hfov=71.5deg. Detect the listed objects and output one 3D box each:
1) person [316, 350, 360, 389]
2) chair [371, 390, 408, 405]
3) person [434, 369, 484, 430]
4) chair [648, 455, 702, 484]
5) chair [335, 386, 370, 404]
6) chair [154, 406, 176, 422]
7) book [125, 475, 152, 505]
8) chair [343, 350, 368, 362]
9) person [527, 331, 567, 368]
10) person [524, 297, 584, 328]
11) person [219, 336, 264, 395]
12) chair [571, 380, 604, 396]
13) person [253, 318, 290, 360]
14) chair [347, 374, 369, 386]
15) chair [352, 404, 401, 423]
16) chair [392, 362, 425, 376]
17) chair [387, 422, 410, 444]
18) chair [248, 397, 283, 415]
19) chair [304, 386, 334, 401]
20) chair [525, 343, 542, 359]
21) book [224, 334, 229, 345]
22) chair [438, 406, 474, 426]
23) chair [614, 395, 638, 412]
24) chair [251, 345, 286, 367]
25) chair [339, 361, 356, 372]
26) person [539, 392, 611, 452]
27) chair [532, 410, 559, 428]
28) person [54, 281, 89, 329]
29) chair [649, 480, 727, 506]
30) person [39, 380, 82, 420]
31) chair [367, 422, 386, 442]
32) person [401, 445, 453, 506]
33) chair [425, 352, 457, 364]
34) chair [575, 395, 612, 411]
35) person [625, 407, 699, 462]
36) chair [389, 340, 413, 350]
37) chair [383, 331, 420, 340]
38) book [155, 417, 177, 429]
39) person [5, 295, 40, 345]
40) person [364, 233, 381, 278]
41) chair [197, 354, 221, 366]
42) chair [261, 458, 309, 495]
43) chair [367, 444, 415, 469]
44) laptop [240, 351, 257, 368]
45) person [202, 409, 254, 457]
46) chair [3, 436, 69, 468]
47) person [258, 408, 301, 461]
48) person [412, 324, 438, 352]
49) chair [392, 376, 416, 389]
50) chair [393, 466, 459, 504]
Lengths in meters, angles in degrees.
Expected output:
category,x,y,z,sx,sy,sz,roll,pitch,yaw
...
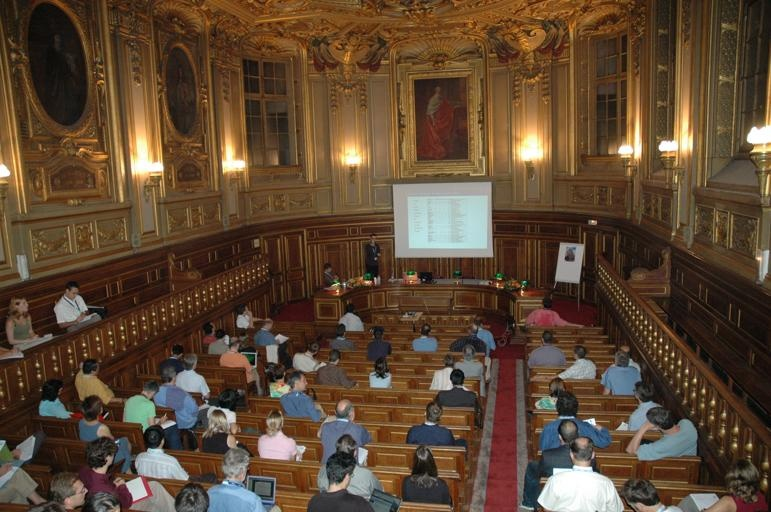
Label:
category,x,y,z,sx,sy,sz,roll,pitch,yaw
person,-0.879,2.171,10.122,0.407,0.943,0.334,13,53,8
chair,0.076,2.468,9.434,0.460,0.260,0.325,3,-11,4
person,1.175,2.336,9.020,0.764,1.123,0.709,-7,23,-15
chair,3.671,2.735,6.841,0.526,0.365,0.195,0,26,9
chair,-0.552,2.376,9.109,0.407,0.284,0.149,2,18,10
chair,-3.442,2.475,8.387,0.256,0.253,0.186,2,3,9
book,-2.965,2.821,6.448,0.299,0.280,0.150,0,1,27
chair,-0.642,2.206,11.285,0.503,0.352,0.187,3,24,10
person,3.132,1.930,10.503,0.677,0.961,0.545,-1,13,-2
person,3.906,1.347,12.880,0.980,0.629,1.080,0,1,16
person,-2.897,2.251,10.749,0.663,1.383,0.757,6,13,23
chair,3.441,2.245,9.111,0.386,0.268,0.144,0,24,7
person,-2.606,1.938,12.321,0.657,1.052,0.592,6,15,24
chair,-0.503,2.368,10.206,0.475,0.183,0.318,3,0,-4
chair,-0.117,2.545,8.657,0.479,0.336,0.162,2,26,11
chair,0.464,2.223,10.692,0.617,0.200,0.307,3,1,2
chair,0.189,2.708,8.304,0.416,0.422,0.255,-1,-6,7
chair,-1.909,2.439,8.694,0.386,0.276,0.144,3,19,5
chair,-1.152,2.392,9.301,0.402,0.274,0.164,1,3,3
chair,2.983,1.979,10.923,0.311,0.477,0.539,-1,-2,13
book,-3.598,1.933,12.215,0.178,0.065,0.270,9,17,-14
chair,1.139,2.531,8.410,0.613,0.372,0.404,-1,-8,19
chair,3.822,2.359,8.548,0.312,0.312,0.219,-1,6,5
chair,-2.473,2.101,11.222,0.412,0.603,0.426,3,19,6
chair,-0.737,2.237,10.791,0.322,0.232,0.183,0,2,3
person,2.620,2.326,7.432,0.638,1.363,0.446,3,29,18
chair,2.383,2.476,8.116,0.350,0.275,0.394,0,-9,6
person,-6.066,0.974,10.502,0.549,0.916,0.692,7,12,15
chair,3.446,2.731,6.137,0.551,0.254,0.209,-1,16,4
person,-5.276,2.350,8.702,0.396,0.989,0.305,12,21,21
chair,-0.132,2.678,8.172,0.317,0.325,0.178,-1,7,2
person,0.543,2.769,6.684,0.574,1.553,0.501,6,49,8
chair,1.070,2.009,10.511,0.372,0.239,0.131,2,28,8
chair,3.316,2.351,8.535,0.449,0.315,0.154,1,27,5
person,3.637,2.301,7.047,0.886,0.686,0.446,0,1,10
chair,0.349,2.000,12.085,0.453,0.184,0.116,-3,-34,9
chair,0.368,1.869,12.566,0.632,0.202,0.156,3,-2,-2
book,-3.342,2.553,8.189,0.187,0.045,0.178,11,11,40
person,-6.456,1.168,9.554,0.458,0.828,0.430,-1,2,-37
person,-0.409,0.006,17.264,0.409,1.460,1.067,0,1,-4
chair,-3.597,2.196,10.888,0.465,0.285,0.170,5,26,7
chair,-1.292,2.860,6.932,0.432,0.295,0.175,4,20,8
chair,0.109,2.766,7.412,0.425,0.294,0.160,2,13,8
laptop,-2.733,2.052,10.788,0.344,0.347,0.290,1,-2,-12
person,-2.220,2.535,7.613,0.359,0.964,0.544,7,42,7
chair,-4.932,2.806,7.624,0.435,0.288,0.163,6,30,3
person,-1.456,2.451,7.559,0.510,0.826,0.744,3,13,7
person,0.841,1.748,11.638,0.495,0.569,1.240,0,1,2
chair,0.358,2.376,10.040,0.450,0.195,0.123,0,1,1
chair,0.512,2.792,6.568,0.665,0.680,0.365,4,33,6
